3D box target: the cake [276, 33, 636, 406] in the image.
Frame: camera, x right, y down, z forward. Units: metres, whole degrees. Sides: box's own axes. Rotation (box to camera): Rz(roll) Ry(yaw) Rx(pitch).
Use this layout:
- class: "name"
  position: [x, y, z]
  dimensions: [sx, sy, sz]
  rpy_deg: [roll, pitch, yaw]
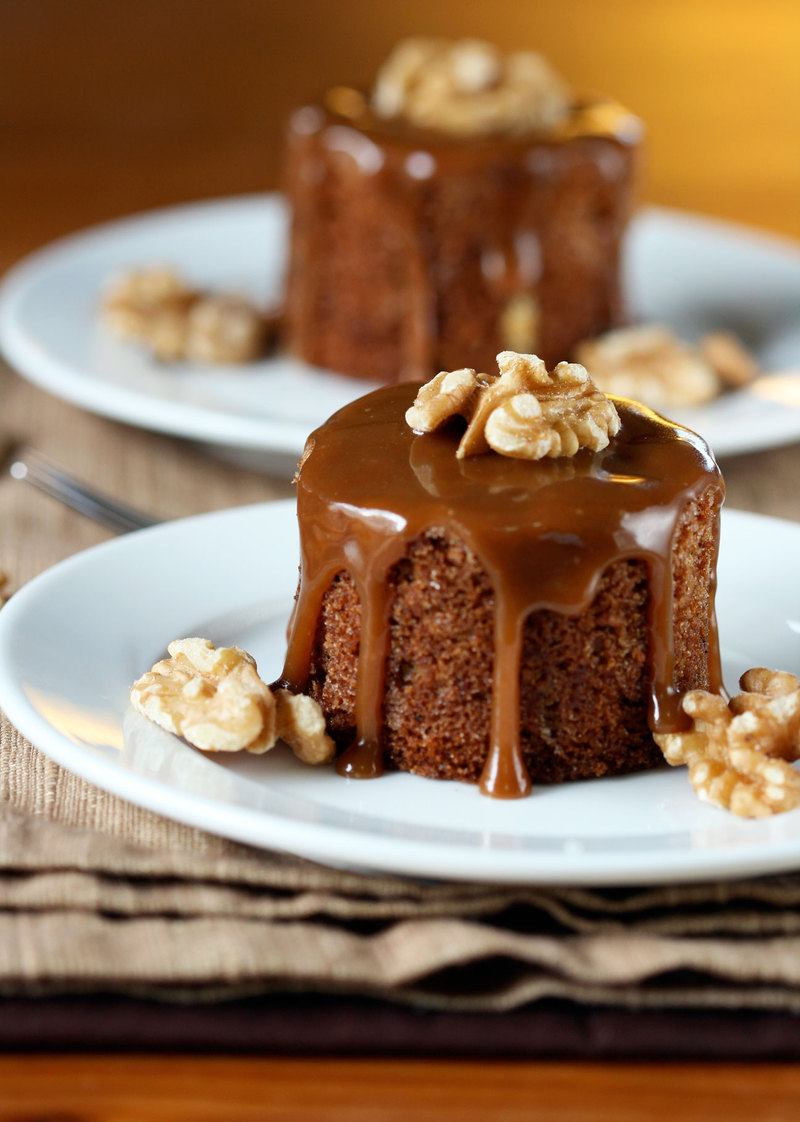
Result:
- class: "cake"
  position: [0.055, -0.501, 1.698]
  dimensions: [0.524, 0.370, 0.415]
  rpy_deg: [-4, 37, -4]

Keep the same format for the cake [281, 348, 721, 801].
- class: "cake"
  position: [0.082, 0.011, 1.012]
  dimensions: [0.418, 0.259, 0.342]
  rpy_deg: [-2, 26, -3]
